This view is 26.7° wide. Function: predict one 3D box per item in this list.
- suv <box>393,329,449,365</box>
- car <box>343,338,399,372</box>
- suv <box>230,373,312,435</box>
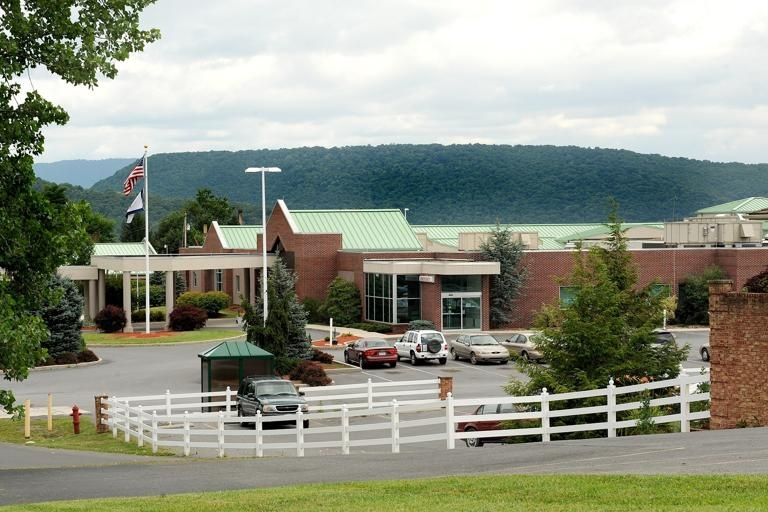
[{"bbox_3d":[1.738,4.632,84.176,1.479,1.058,2.653,0,4,-18],"label":"suv"},{"bbox_3d":[-0.799,4.987,82.821,2.666,1.504,1.599,-3,-3,12],"label":"car"},{"bbox_3d":[-4.908,6.121,68.813,2.249,1.896,4.052,-1,0,-21],"label":"suv"}]
